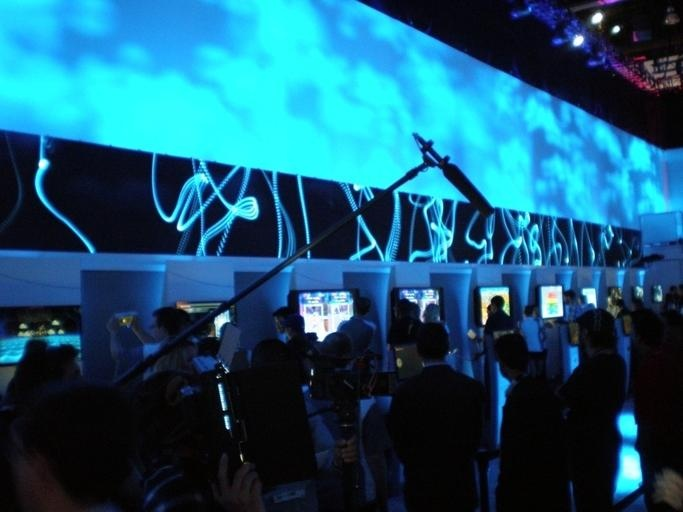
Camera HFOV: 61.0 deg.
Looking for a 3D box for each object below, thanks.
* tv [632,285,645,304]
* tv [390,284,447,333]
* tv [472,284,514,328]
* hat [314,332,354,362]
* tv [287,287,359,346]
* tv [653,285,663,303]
[{"bbox_3d":[5.378,0.692,10.498,0.106,0.366,0.351,-2,0,30],"label":"tv"},{"bbox_3d":[0.905,0.497,6.762,0.713,0.678,0.369,9,-15,-36],"label":"tv"},{"bbox_3d":[2.111,0.662,7.876,0.676,0.562,0.071,2,-6,-34],"label":"tv"},{"bbox_3d":[-0.044,0.495,3.130,0.151,0.161,0.130,4,-18,11],"label":"hat"},{"bbox_3d":[-0.212,0.511,5.988,0.681,0.569,0.420,0,22,-12],"label":"tv"},{"bbox_3d":[6.255,0.764,11.437,0.229,0.358,0.044,14,-18,-32],"label":"tv"}]
